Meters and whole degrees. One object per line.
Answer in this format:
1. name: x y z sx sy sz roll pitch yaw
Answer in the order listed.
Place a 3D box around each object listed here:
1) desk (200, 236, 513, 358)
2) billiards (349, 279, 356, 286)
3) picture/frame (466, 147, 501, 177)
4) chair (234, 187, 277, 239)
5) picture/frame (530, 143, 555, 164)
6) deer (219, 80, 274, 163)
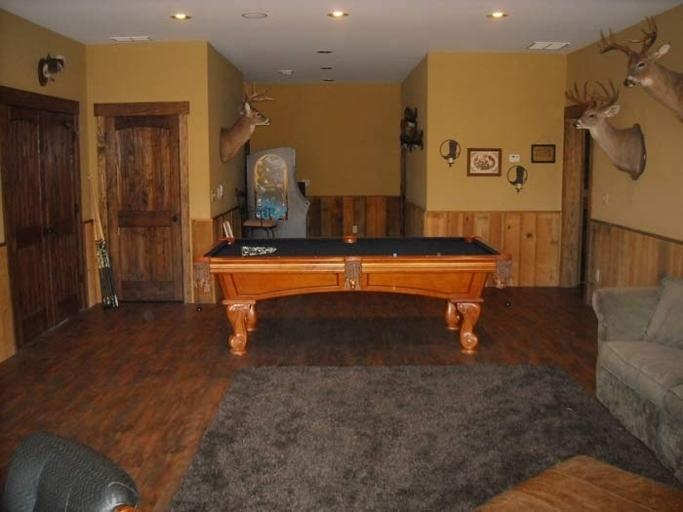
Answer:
1. desk: 0.121 0.247 5.807 2.982 1.273 1.581 1 26 0
2. billiards: 0.107 0.245 4.990 0.065 0.040 0.048 -3 -3 15
3. picture/frame: 1.999 -1.365 7.555 0.356 0.354 0.041 0 1 -1
4. chair: -1.362 -0.676 8.579 0.607 0.797 0.743 -2 11 -6
5. picture/frame: 2.855 -1.479 7.563 0.234 0.232 0.027 0 3 0
6. deer: -1.363 -1.773 7.343 0.780 0.908 0.379 4 11 22
